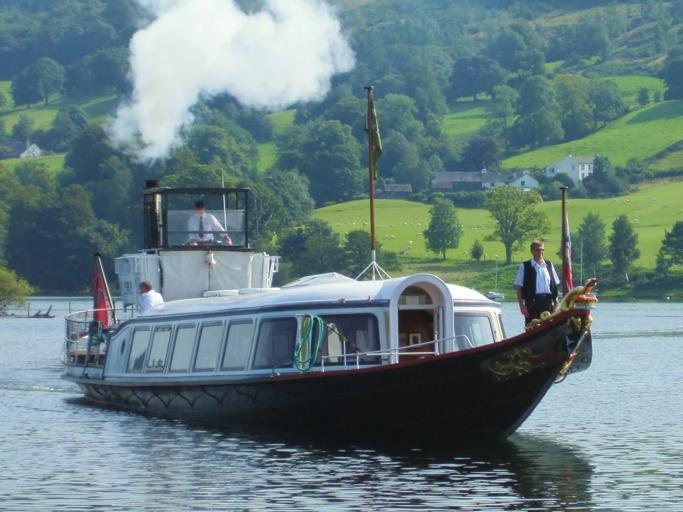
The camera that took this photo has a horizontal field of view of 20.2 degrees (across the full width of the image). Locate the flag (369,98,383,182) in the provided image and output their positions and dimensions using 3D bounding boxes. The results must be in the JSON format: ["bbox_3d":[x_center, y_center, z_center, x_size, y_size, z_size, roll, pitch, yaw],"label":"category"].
[{"bbox_3d":[5.384,-16.718,295.189,1.888,11.306,1.248,9,29,19],"label":"flag"}]
